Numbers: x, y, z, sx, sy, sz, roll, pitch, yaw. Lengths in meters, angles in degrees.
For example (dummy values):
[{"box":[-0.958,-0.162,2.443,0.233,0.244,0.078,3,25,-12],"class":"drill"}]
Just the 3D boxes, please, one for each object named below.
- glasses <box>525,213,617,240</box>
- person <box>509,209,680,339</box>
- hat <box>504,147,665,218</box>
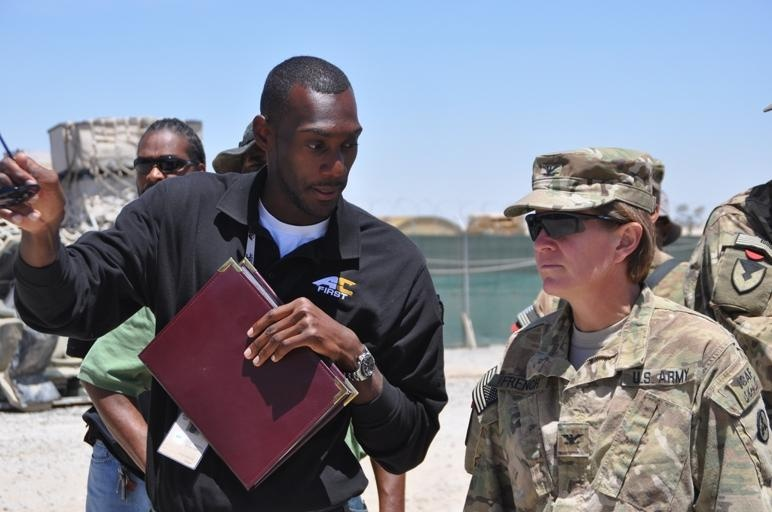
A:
[{"box":[0.999,-0.178,5.788,0.288,0.081,0.221,-1,-4,-22],"class":"glasses"},{"box":[1.808,0.197,7.989,1.686,0.669,1.305,-19,-5,17],"class":"person"},{"box":[1.110,-0.376,5.641,0.805,0.288,0.641,-5,3,-25],"class":"hat"}]
